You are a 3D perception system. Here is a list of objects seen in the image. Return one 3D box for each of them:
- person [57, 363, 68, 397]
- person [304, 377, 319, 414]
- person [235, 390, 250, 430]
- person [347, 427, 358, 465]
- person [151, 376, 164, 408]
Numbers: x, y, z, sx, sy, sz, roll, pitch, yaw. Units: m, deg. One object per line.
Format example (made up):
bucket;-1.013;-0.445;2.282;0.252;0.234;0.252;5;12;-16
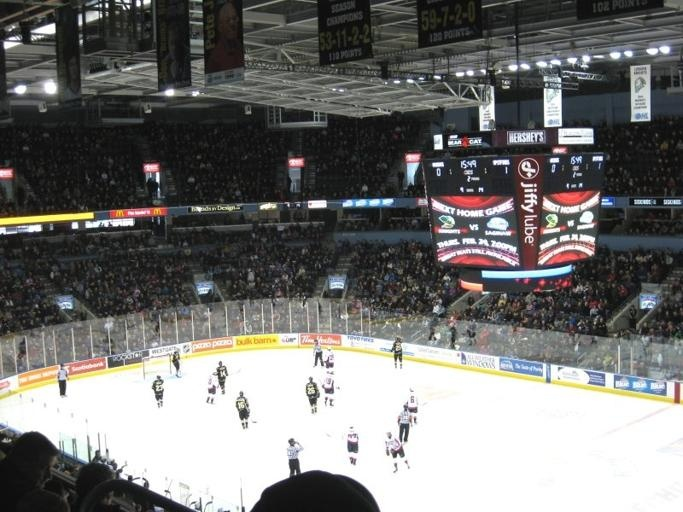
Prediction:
person;-9.850;4.422;32.477;0.261;1.203;0.504;-4;8;-15
person;-0.949;4.481;29.575;0.397;1.441;1.308;-2;8;-3
person;-3.104;4.794;28.909;0.380;1.326;0.966;-3;8;-8
person;0.320;5.395;26.213;0.279;1.186;0.644;-2;8;0
person;-6.150;4.617;30.932;0.280;1.160;0.513;-3;8;-7
